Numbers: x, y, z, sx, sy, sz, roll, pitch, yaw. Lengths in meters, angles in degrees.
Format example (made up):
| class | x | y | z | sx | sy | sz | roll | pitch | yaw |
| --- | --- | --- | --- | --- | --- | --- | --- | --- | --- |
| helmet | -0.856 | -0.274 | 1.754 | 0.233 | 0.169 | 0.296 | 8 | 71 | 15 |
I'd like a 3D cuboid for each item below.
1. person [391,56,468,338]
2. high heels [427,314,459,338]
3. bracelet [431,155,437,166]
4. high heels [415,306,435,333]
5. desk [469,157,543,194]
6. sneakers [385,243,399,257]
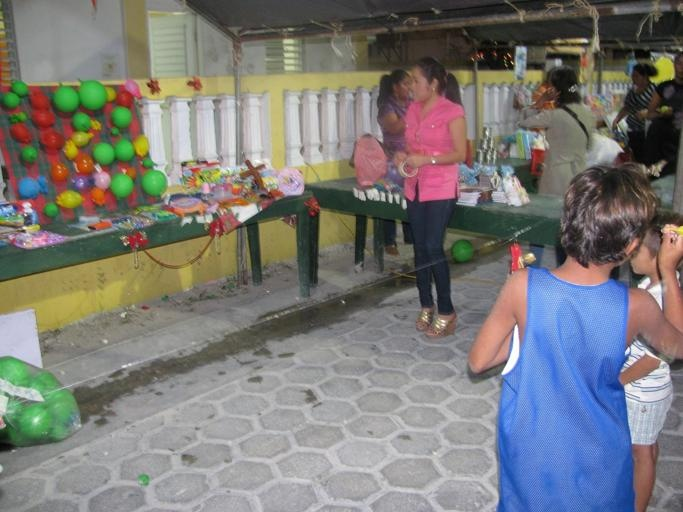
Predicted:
| class | x | y | z | sx | sy | sz | roll | pitch | yaw |
| --- | --- | --- | --- | --- | --- | --- | --- | --- | --- |
| person | 0.691 | -0.403 | 3.716 | 0.532 | 2.140 | 0.332 | 3 | 17 | 13 |
| high heels | 0.851 | 0.559 | 3.921 | 0.286 | 0.114 | 0.129 | -14 | 18 | -37 |
| bracelet | 0.695 | -0.704 | 3.505 | 0.041 | 0.060 | 0.027 | 2 | 17 | 9 |
| high heels | 0.699 | 0.536 | 3.944 | 0.092 | 0.093 | 0.263 | 0 | 12 | 18 |
| desk | 1.455 | -0.690 | 4.114 | 0.253 | 0.291 | 0.461 | 13 | 26 | 34 |
| sneakers | 0.596 | -0.070 | 5.549 | 0.210 | 0.150 | 0.071 | -1 | 29 | 2 |
